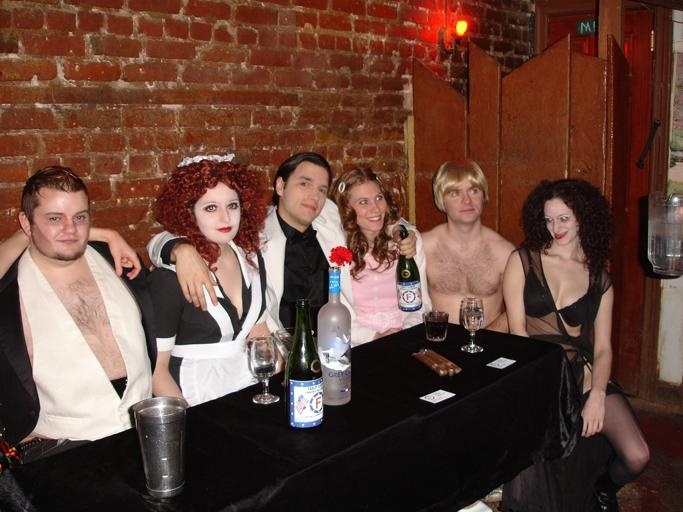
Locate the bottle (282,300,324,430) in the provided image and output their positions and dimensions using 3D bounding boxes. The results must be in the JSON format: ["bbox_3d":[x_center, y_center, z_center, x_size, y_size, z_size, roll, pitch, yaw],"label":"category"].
[{"bbox_3d":[-0.129,0.353,1.806,0.130,0.422,0.171,-4,9,-3],"label":"bottle"}]

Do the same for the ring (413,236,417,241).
[{"bbox_3d":[0.431,-0.099,3.131,0.024,0.012,0.025,-2,-8,0],"label":"ring"}]

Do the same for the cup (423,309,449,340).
[{"bbox_3d":[0.444,0.306,2.472,0.119,0.138,0.122,-1,1,0],"label":"cup"}]

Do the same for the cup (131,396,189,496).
[{"bbox_3d":[-0.521,0.547,1.607,0.145,0.249,0.209,-8,10,-24],"label":"cup"}]
